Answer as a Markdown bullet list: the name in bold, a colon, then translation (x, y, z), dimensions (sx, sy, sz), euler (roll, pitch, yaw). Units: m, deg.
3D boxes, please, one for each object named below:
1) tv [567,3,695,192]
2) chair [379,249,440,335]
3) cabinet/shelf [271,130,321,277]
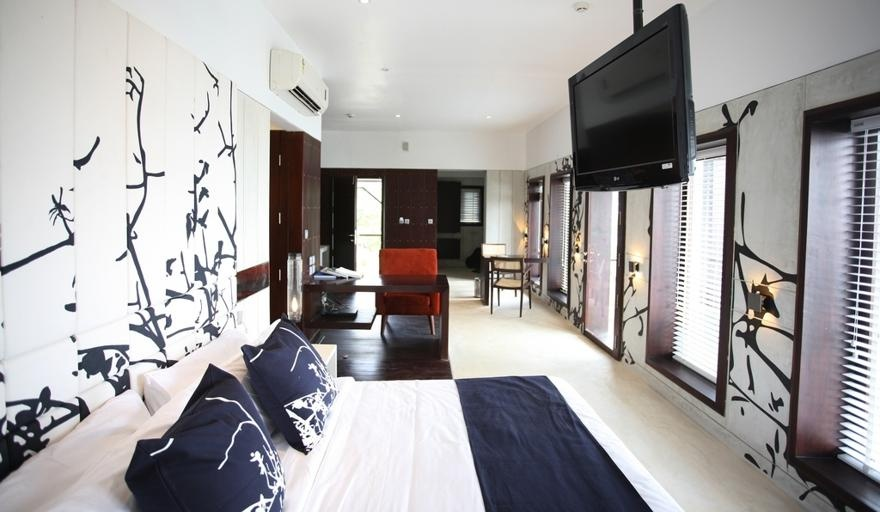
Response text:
- **tv**: translation (1.379, -1.071, 3.857), dimensions (0.173, 1.163, 0.975), euler (-5, 7, -29)
- **chair**: translation (-0.389, 0.423, 6.803), dimensions (0.949, 1.316, 0.957), euler (0, -7, 2)
- **cabinet/shelf**: translation (-1.762, -0.647, 6.385), dimensions (0.591, 1.808, 1.807), euler (0, 2, -6)
